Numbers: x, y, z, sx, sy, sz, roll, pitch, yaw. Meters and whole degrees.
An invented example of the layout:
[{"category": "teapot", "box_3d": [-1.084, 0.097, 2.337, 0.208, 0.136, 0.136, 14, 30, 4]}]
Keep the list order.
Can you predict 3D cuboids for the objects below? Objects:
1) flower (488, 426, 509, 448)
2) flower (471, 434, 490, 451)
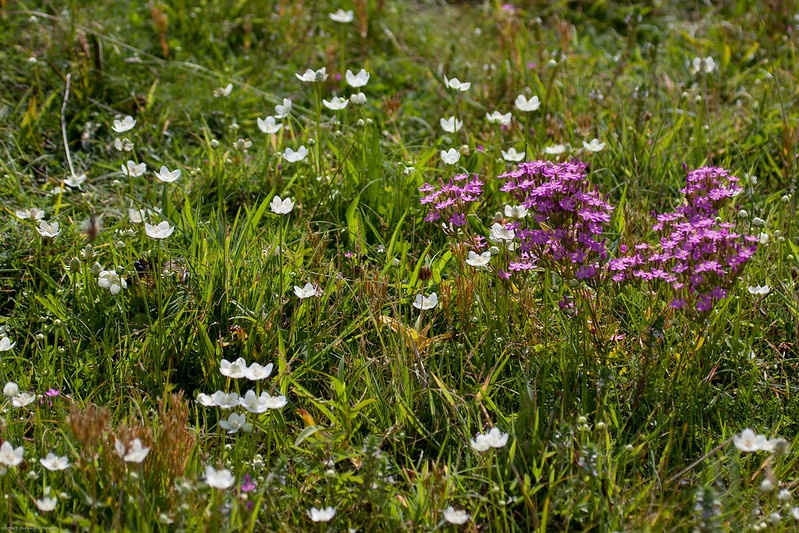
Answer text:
[{"category": "flower", "box_3d": [0.426, 0.725, 3.455, 0.082, 0.104, 0.080, 7, 77, 16]}, {"category": "flower", "box_3d": [0.347, 0.752, 3.435, 0.078, 0.051, 0.099, -2, 34, 3]}]
